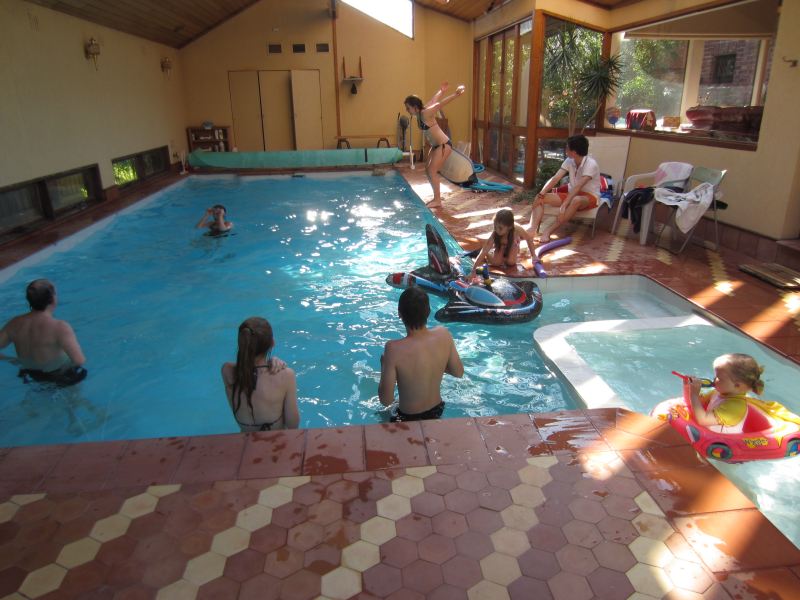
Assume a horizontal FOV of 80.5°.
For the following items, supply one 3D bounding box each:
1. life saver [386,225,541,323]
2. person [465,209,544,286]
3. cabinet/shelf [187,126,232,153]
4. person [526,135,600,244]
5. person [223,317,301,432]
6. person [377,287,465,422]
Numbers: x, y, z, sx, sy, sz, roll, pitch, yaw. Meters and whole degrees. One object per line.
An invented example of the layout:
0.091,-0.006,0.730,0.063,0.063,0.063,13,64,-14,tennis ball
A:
0.749,-0.441,5.603,1.099,0.606,1.552,-15,22,-30,life saver
1.255,-0.735,6.112,0.974,0.813,0.779,-12,19,-19,person
-6.635,-5.524,16.275,1.498,1.396,0.440,-1,14,-7,cabinet/shelf
2.514,-1.818,7.587,1.229,1.475,0.950,-11,23,-21,person
-0.956,0.533,3.227,0.426,0.838,0.189,-10,23,-20,person
0.141,0.440,3.493,0.371,1.072,0.593,17,28,40,person
